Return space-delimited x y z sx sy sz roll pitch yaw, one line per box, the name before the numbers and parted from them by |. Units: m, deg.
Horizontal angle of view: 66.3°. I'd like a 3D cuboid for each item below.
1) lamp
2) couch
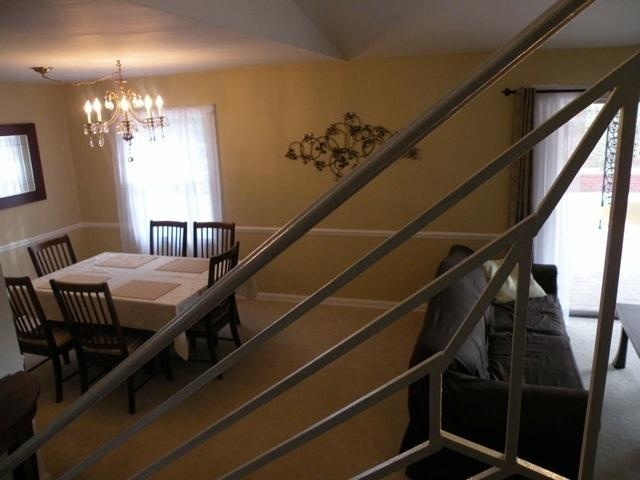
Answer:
lamp | -2.038 -1.306 5.100 0.800 1.059 0.837 -4 10 4
couch | 1.237 0.896 3.356 1.030 1.107 1.668 4 13 25
